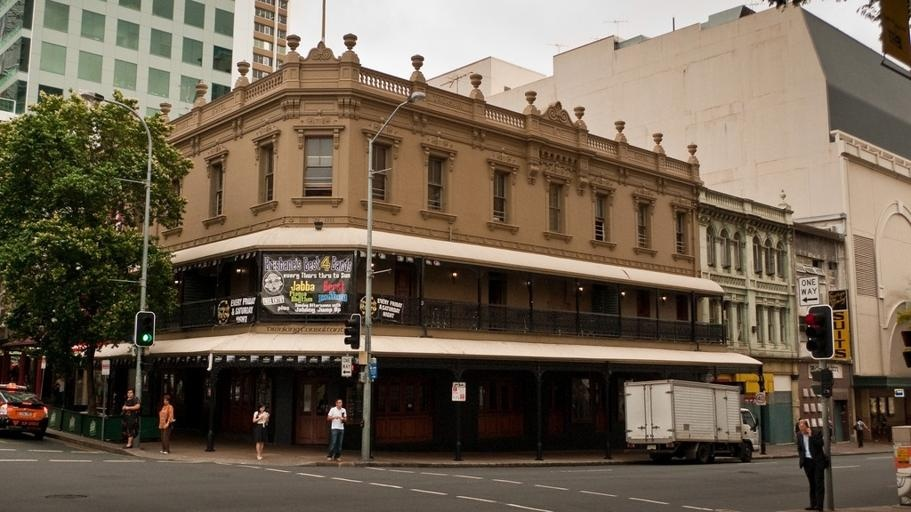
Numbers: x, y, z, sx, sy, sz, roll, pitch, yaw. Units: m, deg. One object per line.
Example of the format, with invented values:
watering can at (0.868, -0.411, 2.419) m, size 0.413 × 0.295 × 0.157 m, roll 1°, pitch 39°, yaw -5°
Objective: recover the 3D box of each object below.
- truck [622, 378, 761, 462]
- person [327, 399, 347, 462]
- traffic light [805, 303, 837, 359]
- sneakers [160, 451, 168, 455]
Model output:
truck at (15.267, 10.804, 75.016) m, size 7.927 × 5.063 × 2.766 m, roll 7°, pitch -19°, yaw -25°
person at (-7.138, 10.489, 69.537) m, size 0.917 × 3.747 × 1.142 m, roll 1°, pitch -18°, yaw -5°
traffic light at (19.148, 3.936, 60.841) m, size 1.393 × 2.892 × 0.916 m, roll -4°, pitch -18°, yaw 9°
sneakers at (-17.438, 11.853, 69.293) m, size 0.543 × 0.215 × 0.181 m, roll -9°, pitch -9°, yaw 35°
